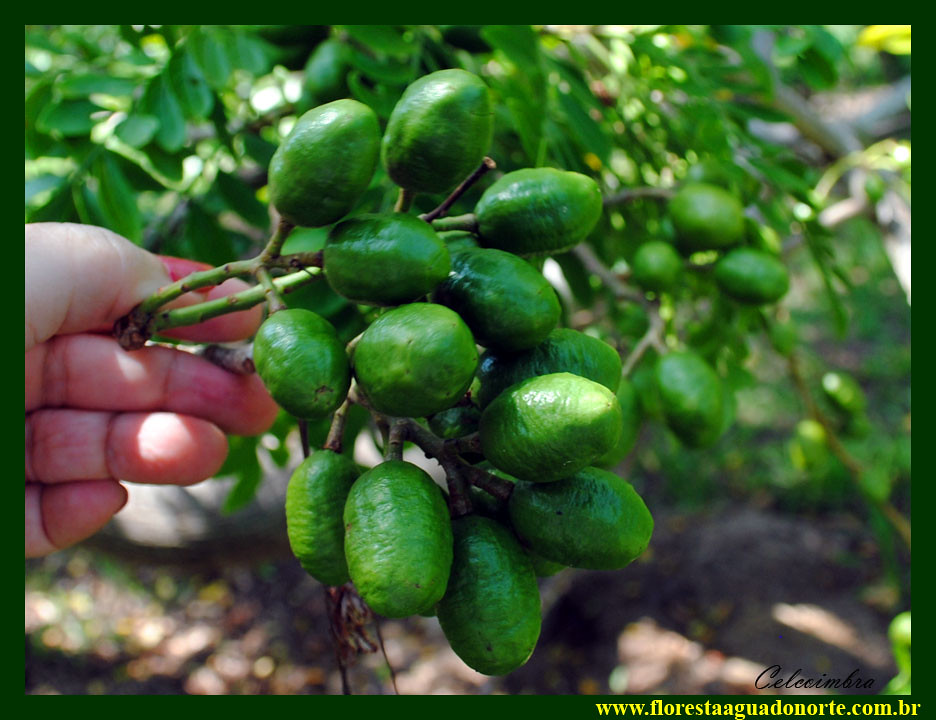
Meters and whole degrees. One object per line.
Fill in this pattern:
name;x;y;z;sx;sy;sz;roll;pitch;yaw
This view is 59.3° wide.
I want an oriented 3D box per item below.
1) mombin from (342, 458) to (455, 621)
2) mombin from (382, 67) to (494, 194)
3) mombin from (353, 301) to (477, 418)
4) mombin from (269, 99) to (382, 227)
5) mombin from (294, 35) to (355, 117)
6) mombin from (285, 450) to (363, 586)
mombin;-0.107;0.287;1.293;0.174;0.142;0.233;-1;72;-6
mombin;-0.040;-0.411;1.442;0.216;0.160;0.160;-3;86;22
mombin;-0.079;-0.010;1.395;0.209;0.151;0.156;-11;101;-12
mombin;-0.241;-0.333;1.465;0.227;0.131;0.157;-41;98;5
mombin;-0.352;-0.686;2.062;0.112;0.113;0.218;16;109;-15
mombin;-0.246;0.258;1.379;0.136;0.120;0.209;-2;86;3
